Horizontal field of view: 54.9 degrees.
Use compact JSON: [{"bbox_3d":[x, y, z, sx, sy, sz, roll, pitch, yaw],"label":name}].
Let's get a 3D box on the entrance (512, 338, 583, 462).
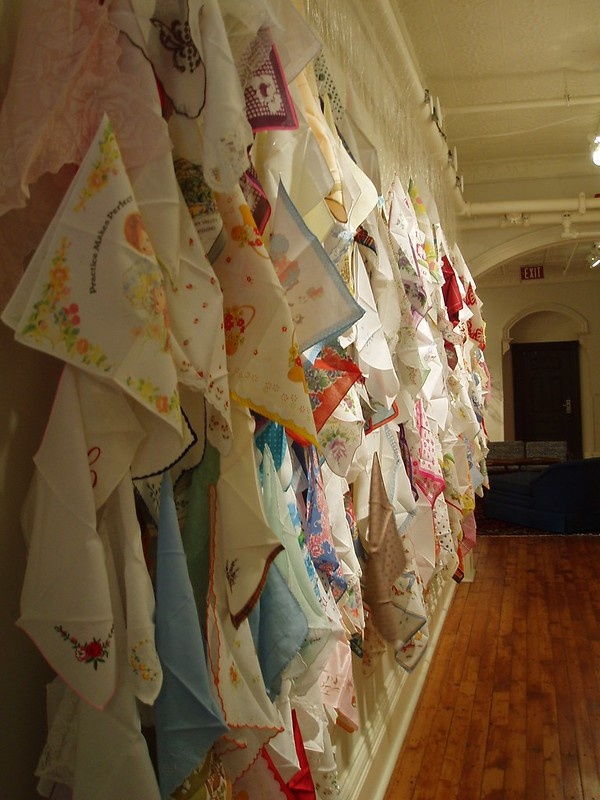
[{"bbox_3d":[4.428,-0.030,10.338,1.131,1.855,0.224,-4,-2,25],"label":"entrance"}]
